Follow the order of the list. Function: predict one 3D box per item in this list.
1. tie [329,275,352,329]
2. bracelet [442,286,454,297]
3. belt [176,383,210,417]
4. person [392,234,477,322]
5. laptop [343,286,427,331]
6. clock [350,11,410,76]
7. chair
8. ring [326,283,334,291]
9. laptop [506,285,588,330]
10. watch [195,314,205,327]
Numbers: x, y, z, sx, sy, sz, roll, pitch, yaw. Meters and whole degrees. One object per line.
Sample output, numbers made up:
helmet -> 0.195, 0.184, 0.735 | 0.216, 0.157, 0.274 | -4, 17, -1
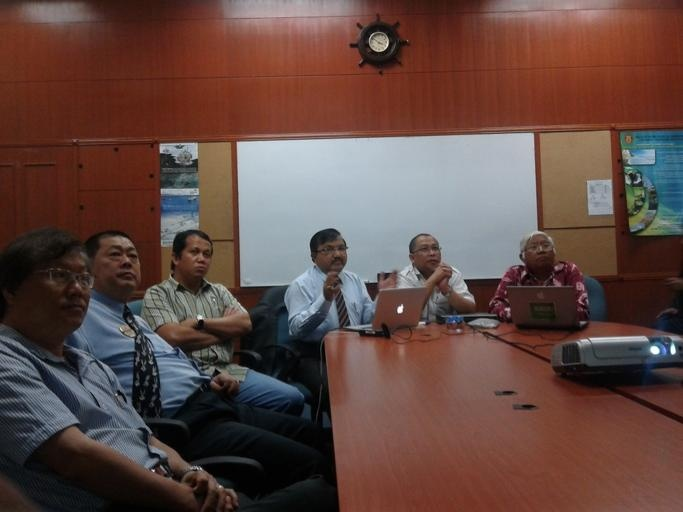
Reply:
tie -> 0.003, 0.297, 3.698 | 0.079, 0.306, 0.213 | -13, -12, 30
bracelet -> 0.700, 0.230, 3.683 | 0.053, 0.021, 0.058 | -14, 32, 26
belt -> -0.677, 0.639, 2.538 | 0.101, 0.028, 0.074 | -41, 8, 5
person -> 0.673, 0.161, 3.971 | 0.428, 0.873, 0.434 | -1, -26, -8
laptop -> 0.313, 0.288, 3.299 | 0.310, 0.209, 0.273 | 0, 0, -34
clock -> 0.316, -1.872, 4.910 | 0.498, 0.570, 0.043 | 0, -1, -2
chair -> -0.198, 0.585, 3.572 | 0.477, 0.769, 0.570 | 3, -10, -23
ring -> -0.062, 0.194, 3.511 | 0.057, 0.037, 0.018 | 1, 3, -33
laptop -> 1.136, 0.281, 3.120 | 0.311, 0.247, 0.263 | -1, 4, 24
watch -> -0.787, 0.355, 3.114 | 0.042, 0.066, 0.056 | 10, -35, -33
